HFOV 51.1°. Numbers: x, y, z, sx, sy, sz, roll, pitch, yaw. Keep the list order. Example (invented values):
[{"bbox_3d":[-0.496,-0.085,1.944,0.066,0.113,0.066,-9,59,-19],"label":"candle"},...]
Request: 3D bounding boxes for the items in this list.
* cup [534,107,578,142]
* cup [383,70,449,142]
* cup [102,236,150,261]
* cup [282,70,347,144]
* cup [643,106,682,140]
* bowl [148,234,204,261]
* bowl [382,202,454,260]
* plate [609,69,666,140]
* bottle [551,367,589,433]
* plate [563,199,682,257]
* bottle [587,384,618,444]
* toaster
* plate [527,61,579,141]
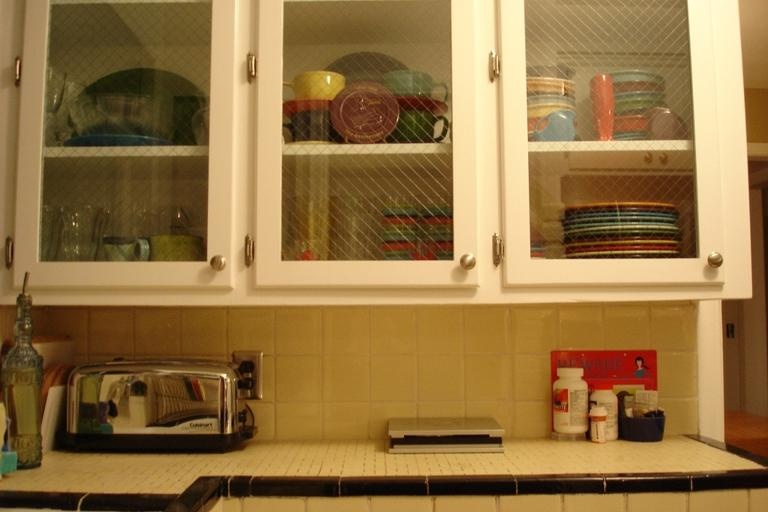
[{"bbox_3d":[0.549,-0.404,2.554,0.089,0.099,0.124,6,-9,-35],"label":"cup"},{"bbox_3d":[0.117,-0.471,2.533,0.221,0.189,0.088,-4,17,9],"label":"cup"},{"bbox_3d":[-0.805,-0.021,2.517,0.120,0.085,0.079,3,-5,1],"label":"cup"},{"bbox_3d":[-0.225,-0.478,2.540,0.235,0.210,0.152,0,-3,2],"label":"cup"},{"bbox_3d":[0.906,-0.416,2.586,0.118,0.116,0.082,4,-8,-41],"label":"cup"},{"bbox_3d":[-0.648,-0.023,2.505,0.091,0.063,0.128,-1,-3,21],"label":"bowl"},{"bbox_3d":[0.091,-0.072,2.445,0.261,0.194,0.147,0,-2,1],"label":"bowl"},{"bbox_3d":[0.805,-0.496,2.650,0.204,0.201,0.200,0,1,1],"label":"plate"},{"bbox_3d":[0.643,0.499,2.773,0.126,0.220,0.087,-2,0,8],"label":"bottle"},{"bbox_3d":[0.738,-0.083,2.515,0.231,0.104,0.223,0,-2,4],"label":"plate"},{"bbox_3d":[0.758,0.534,2.758,0.102,0.176,0.077,-2,0,8],"label":"bottle"},{"bbox_3d":[-0.744,0.466,2.604,0.487,0.253,0.314,0,-6,-2],"label":"toaster"},{"bbox_3d":[0.504,-0.489,2.608,0.209,0.213,0.213,0,-6,1],"label":"plate"}]
